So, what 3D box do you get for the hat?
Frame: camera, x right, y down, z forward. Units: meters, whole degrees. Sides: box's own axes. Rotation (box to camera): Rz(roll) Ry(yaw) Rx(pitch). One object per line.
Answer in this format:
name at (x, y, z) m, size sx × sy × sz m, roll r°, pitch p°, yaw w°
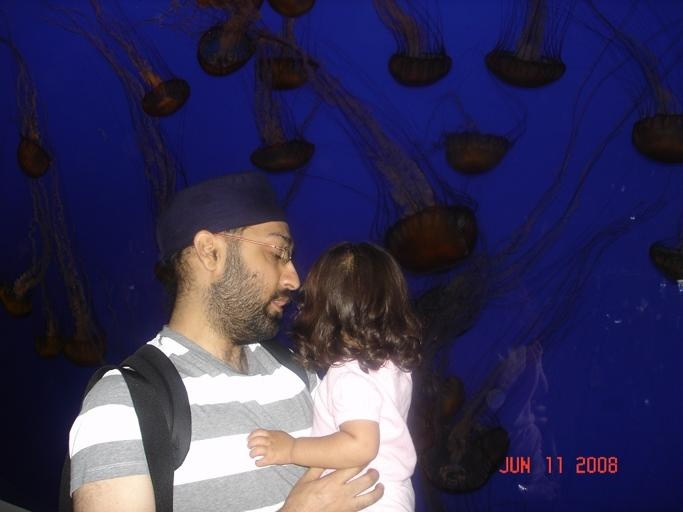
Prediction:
hat at (-0.460, -0.160, 2.623) m, size 0.359 × 0.210 × 0.307 m, roll -14°, pitch -19°, yaw -16°
